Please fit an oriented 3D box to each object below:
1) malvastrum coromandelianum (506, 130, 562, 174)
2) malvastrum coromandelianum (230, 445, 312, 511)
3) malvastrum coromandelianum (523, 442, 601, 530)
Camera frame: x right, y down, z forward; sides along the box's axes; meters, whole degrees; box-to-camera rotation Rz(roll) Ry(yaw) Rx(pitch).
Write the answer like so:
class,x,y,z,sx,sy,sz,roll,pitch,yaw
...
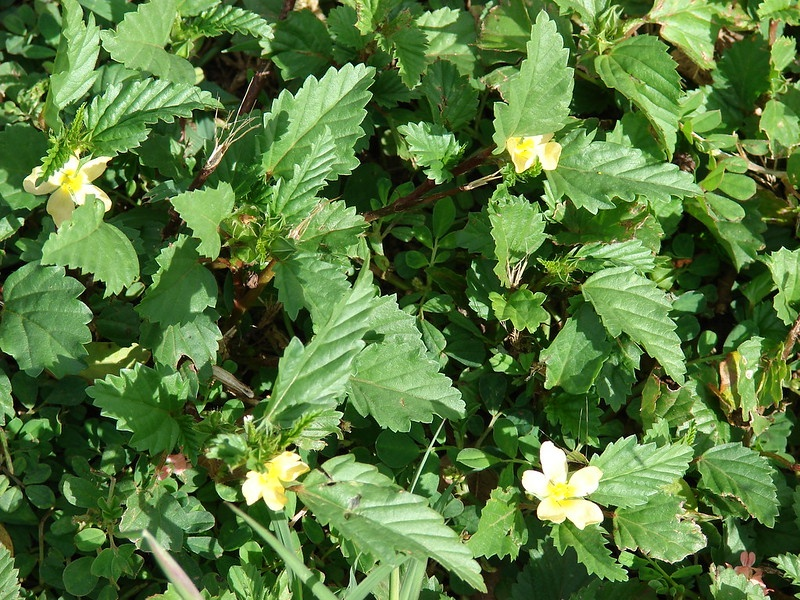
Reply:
class,x,y,z,sx,sy,sz,roll,pitch,yaw
malvastrum coromandelianum,0.432,-0.550,2.313,0.199,0.194,0.090,5,74,-27
malvastrum coromandelianum,-0.362,0.553,1.955,0.190,0.181,0.120,-31,59,-20
malvastrum coromandelianum,0.540,0.629,2.169,0.191,0.203,0.083,5,95,-11
